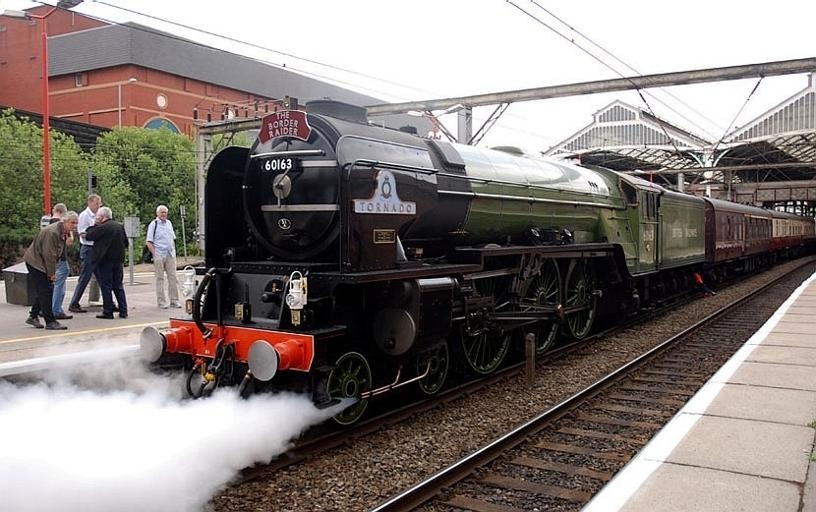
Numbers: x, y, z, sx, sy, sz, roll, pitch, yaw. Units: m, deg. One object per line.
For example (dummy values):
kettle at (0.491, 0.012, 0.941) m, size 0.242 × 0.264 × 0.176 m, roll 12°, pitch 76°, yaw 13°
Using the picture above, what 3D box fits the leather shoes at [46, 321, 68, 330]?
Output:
leather shoes at (-6.853, 1.357, 11.326) m, size 0.414 × 0.155 × 0.178 m, roll 0°, pitch 0°, yaw 0°

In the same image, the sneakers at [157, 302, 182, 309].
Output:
sneakers at (-5.685, 1.192, 13.812) m, size 0.585 × 0.224 × 0.184 m, roll -3°, pitch 0°, yaw 16°

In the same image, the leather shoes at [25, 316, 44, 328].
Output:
leather shoes at (-7.479, 1.314, 11.565) m, size 0.337 × 0.209 × 0.108 m, roll 23°, pitch 5°, yaw -12°

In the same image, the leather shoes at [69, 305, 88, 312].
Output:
leather shoes at (-7.429, 1.177, 12.979) m, size 0.462 × 0.152 × 0.152 m, roll 0°, pitch 2°, yaw 18°

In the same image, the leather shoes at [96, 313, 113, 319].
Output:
leather shoes at (-6.483, 1.279, 12.393) m, size 0.422 × 0.153 × 0.150 m, roll 3°, pitch 2°, yaw 21°

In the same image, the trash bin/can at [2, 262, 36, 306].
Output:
trash bin/can at (-9.048, 0.682, 13.477) m, size 1.115 × 1.010 × 0.657 m, roll -1°, pitch 1°, yaw 44°

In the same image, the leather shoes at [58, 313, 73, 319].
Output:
leather shoes at (-7.228, 1.261, 12.200) m, size 0.328 × 0.118 × 0.114 m, roll 0°, pitch 1°, yaw 7°
